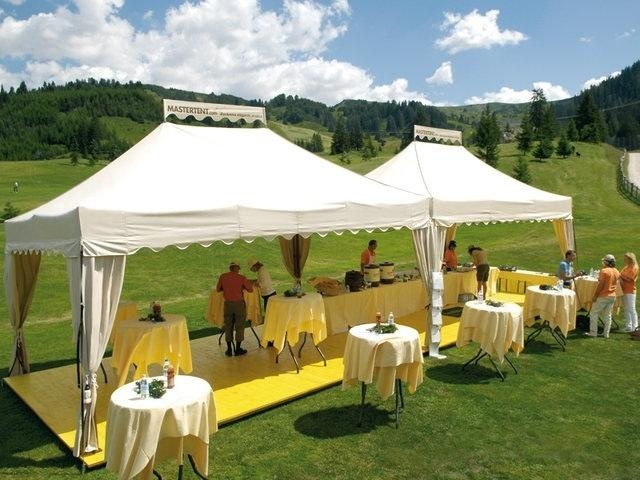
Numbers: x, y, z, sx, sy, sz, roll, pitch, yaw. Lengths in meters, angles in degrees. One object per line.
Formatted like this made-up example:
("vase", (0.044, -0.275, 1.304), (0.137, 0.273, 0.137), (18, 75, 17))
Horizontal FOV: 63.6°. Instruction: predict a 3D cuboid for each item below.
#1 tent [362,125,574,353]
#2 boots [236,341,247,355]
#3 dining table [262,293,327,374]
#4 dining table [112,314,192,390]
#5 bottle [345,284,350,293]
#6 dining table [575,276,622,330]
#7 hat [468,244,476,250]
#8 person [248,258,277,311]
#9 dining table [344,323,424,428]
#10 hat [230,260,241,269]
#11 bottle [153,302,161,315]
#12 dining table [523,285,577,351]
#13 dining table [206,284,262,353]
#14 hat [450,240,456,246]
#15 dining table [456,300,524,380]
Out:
("tent", (3.554, -0.063, 14.952), (5.662, 5.729, 5.713), (-6, 10, -29))
("boots", (-1.755, 2.386, 11.419), (0.150, 0.322, 0.319), (2, 7, 30))
("dining table", (-0.307, 1.885, 10.939), (1.478, 1.508, 1.280), (-2, 0, 40))
("dining table", (-3.196, 1.905, 9.611), (1.589, 1.155, 1.193), (1, -1, -43))
("bottle", (0.674, 1.205, 12.831), (0.093, 0.155, 0.149), (30, -34, -21))
("dining table", (7.221, 1.641, 13.868), (1.208, 1.432, 1.291), (-2, 4, 3))
("hat", (5.614, 0.227, 18.977), (0.178, 0.120, 0.233), (-2, -2, 35))
("person", (-1.379, 1.321, 12.672), (0.531, 1.736, 0.657), (-9, 0, 7))
("dining table", (1.196, 2.205, 9.013), (1.519, 1.613, 1.483), (5, 10, 36))
("hat", (-1.813, 0.555, 11.019), (0.207, 0.113, 0.295), (2, 5, -3))
("bottle", (-3.048, 1.281, 9.555), (0.133, 0.188, 0.164), (-2, 13, -9))
("dining table", (5.508, 1.631, 12.061), (1.387, 1.528, 1.379), (0, 1, 42))
("dining table", (-2.106, 1.831, 12.408), (1.390, 1.444, 1.281), (0, -4, -4))
("hat", (4.114, 0.082, 15.850), (0.134, 0.172, 0.385), (2, 4, 23))
("dining table", (3.519, 1.863, 10.707), (1.377, 1.412, 1.423), (2, 6, 28))
